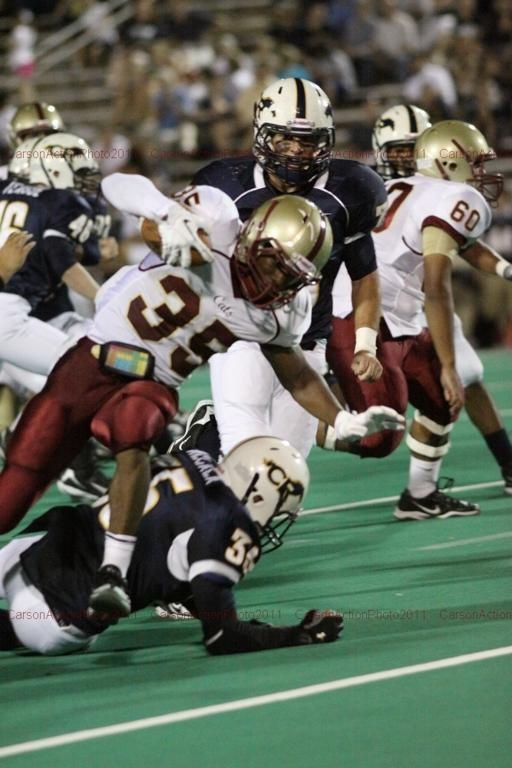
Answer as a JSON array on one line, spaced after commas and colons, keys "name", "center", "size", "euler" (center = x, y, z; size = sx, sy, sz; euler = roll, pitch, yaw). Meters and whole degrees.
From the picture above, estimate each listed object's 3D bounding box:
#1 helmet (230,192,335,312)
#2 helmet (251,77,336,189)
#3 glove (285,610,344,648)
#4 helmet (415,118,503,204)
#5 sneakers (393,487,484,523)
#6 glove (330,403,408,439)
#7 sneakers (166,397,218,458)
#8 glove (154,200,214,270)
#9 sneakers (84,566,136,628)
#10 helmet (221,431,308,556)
[{"name": "helmet", "center": [0.066, -0.336, 1.969], "size": [0.254, 0.231, 0.307], "euler": [-23, 31, 30]}, {"name": "helmet", "center": [0.137, -0.922, 2.694], "size": [0.335, 0.342, 0.411], "euler": [1, 52, -1]}, {"name": "glove", "center": [0.153, 0.629, 1.872], "size": [0.130, 0.046, 0.091], "euler": [-7, 6, 1]}, {"name": "helmet", "center": [0.987, -1.081, 3.494], "size": [0.433, 0.323, 0.331], "euler": [4, 19, 3]}, {"name": "sneakers", "center": [0.844, 0.583, 3.493], "size": [0.445, 0.158, 0.144], "euler": [-1, -3, -5]}, {"name": "glove", "center": [0.301, 0.106, 1.983], "size": [0.114, 0.043, 0.146], "euler": [-13, -1, -37]}, {"name": "sneakers", "center": [-0.211, 0.197, 2.900], "size": [0.150, 0.105, 0.314], "euler": [6, 48, 23]}, {"name": "glove", "center": [-0.176, -0.354, 1.730], "size": [0.117, 0.047, 0.163], "euler": [-35, 44, 9]}, {"name": "sneakers", "center": [-0.320, 0.473, 1.622], "size": [0.075, 0.157, 0.074], "euler": [6, 63, -2]}, {"name": "helmet", "center": [0.022, 0.258, 1.917], "size": [0.217, 0.205, 0.175], "euler": [-9, 27, -13]}]
